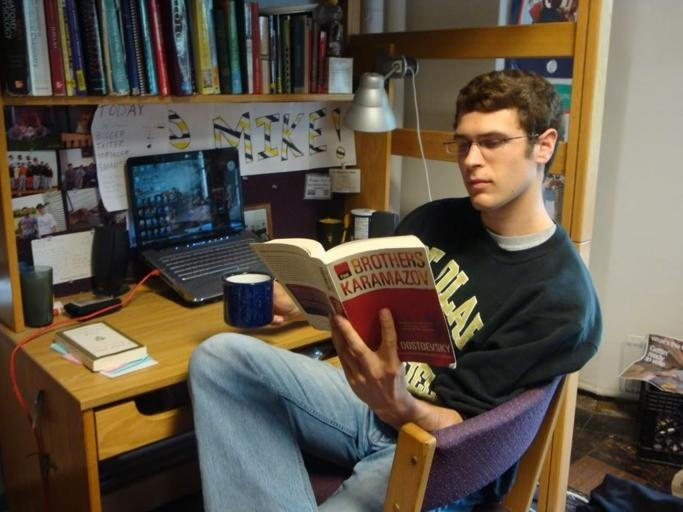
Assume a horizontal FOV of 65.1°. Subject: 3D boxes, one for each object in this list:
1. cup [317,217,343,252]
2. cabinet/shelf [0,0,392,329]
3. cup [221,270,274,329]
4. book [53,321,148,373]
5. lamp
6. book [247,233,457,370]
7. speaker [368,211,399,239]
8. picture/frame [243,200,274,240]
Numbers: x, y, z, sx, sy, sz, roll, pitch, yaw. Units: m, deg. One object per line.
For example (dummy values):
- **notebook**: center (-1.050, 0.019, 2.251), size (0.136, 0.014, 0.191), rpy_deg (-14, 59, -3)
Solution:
- **cup**: center (-0.040, -0.089, 2.205), size (0.126, 0.115, 0.080), rpy_deg (-1, 2, -40)
- **cabinet/shelf**: center (-0.491, -0.294, 1.651), size (1.032, 0.993, 0.320), rpy_deg (-11, 15, -43)
- **cup**: center (-0.248, 0.125, 1.477), size (0.146, 0.133, 0.145), rpy_deg (0, 12, 0)
- **book**: center (-0.613, 0.225, 1.364), size (0.119, 0.030, 0.167), rpy_deg (-12, 23, -40)
- **lamp**: center (0.109, -0.538, 1.830), size (0.269, 0.292, 0.244), rpy_deg (-10, 20, -36)
- **book**: center (0.016, 0.092, 1.071), size (0.387, 0.265, 0.176), rpy_deg (7, 19, 43)
- **speaker**: center (0.152, -0.108, 1.906), size (0.122, 0.126, 0.044), rpy_deg (5, 4, 28)
- **picture/frame**: center (-0.328, -0.141, 2.073), size (0.137, 0.153, 0.006), rpy_deg (-10, 11, -35)
